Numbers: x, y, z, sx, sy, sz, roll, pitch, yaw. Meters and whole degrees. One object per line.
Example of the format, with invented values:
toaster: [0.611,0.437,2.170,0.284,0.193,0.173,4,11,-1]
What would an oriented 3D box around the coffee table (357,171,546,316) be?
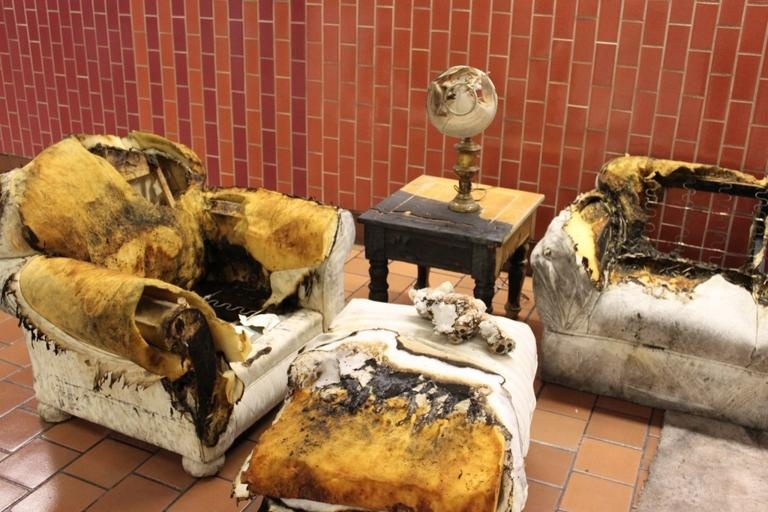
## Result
coffee table: [0.462,-0.291,4.288,0.952,0.987,0.952,10,27,21]
